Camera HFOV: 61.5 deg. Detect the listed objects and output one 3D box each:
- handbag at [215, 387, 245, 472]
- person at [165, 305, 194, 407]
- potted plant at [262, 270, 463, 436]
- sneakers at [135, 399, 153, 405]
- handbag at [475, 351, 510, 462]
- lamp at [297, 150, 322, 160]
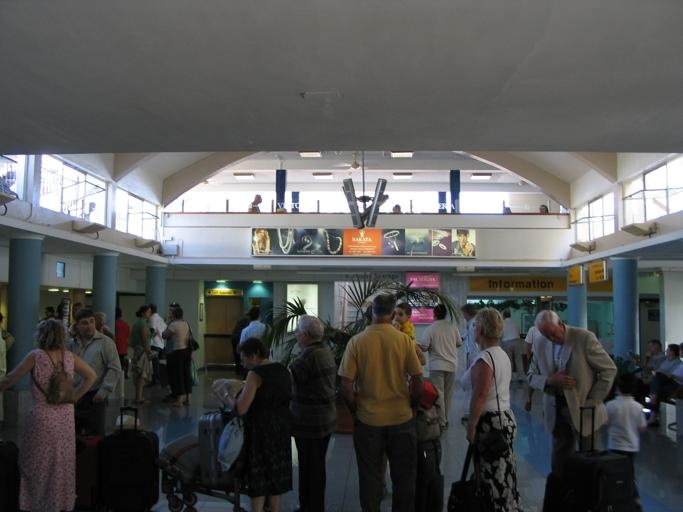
[{"bbox_3d":[-0.955,1.617,5.080,0.175,0.504,0.308,7,-2,7],"label":"handbag"},{"bbox_3d":[-2.972,1.800,10.432,0.510,1.804,0.781,2,-9,-15],"label":"person"},{"bbox_3d":[0.222,0.978,8.260,2.707,1.663,2.780,-2,-9,4],"label":"potted plant"},{"bbox_3d":[-3.670,2.713,10.605,0.259,0.096,0.127,-1,1,-12],"label":"sneakers"},{"bbox_3d":[1.258,1.313,4.747,0.211,0.741,0.098,-2,-9,13],"label":"handbag"},{"bbox_3d":[-0.957,-3.108,17.772,0.695,0.201,1.016,0,-9,-3],"label":"lamp"}]
